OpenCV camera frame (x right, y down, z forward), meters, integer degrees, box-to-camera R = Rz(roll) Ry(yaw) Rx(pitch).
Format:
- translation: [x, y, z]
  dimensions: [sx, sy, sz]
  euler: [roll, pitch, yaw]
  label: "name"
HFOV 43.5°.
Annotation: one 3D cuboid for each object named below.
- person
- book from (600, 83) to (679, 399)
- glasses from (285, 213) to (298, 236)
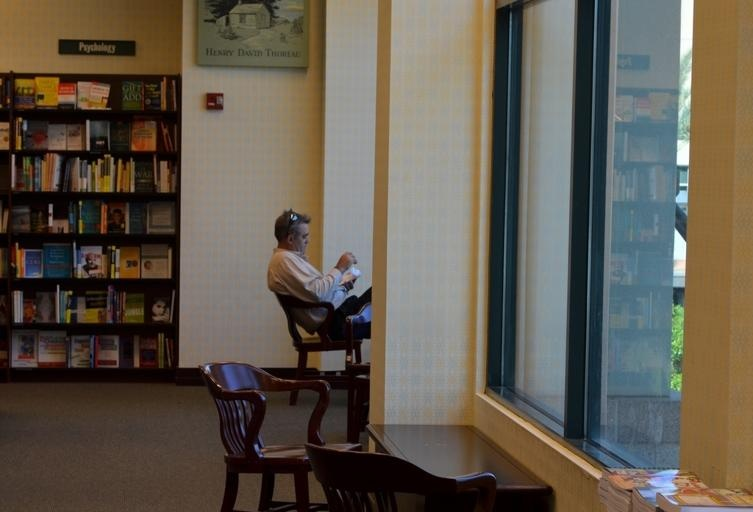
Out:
- translation: [-0.366, 0.210, 7.789]
  dimensions: [1.061, 1.171, 0.697]
  euler: [-2, 0, -21]
  label: "person"
- translation: [1.157, -0.051, 4.144]
  dimensions: [0.124, 1.365, 0.416]
  euler: [-5, 7, -28]
  label: "book"
- translation: [-0.670, -0.283, 7.652]
  dimensions: [0.075, 0.126, 0.048]
  euler: [-5, 1, 14]
  label: "glasses"
